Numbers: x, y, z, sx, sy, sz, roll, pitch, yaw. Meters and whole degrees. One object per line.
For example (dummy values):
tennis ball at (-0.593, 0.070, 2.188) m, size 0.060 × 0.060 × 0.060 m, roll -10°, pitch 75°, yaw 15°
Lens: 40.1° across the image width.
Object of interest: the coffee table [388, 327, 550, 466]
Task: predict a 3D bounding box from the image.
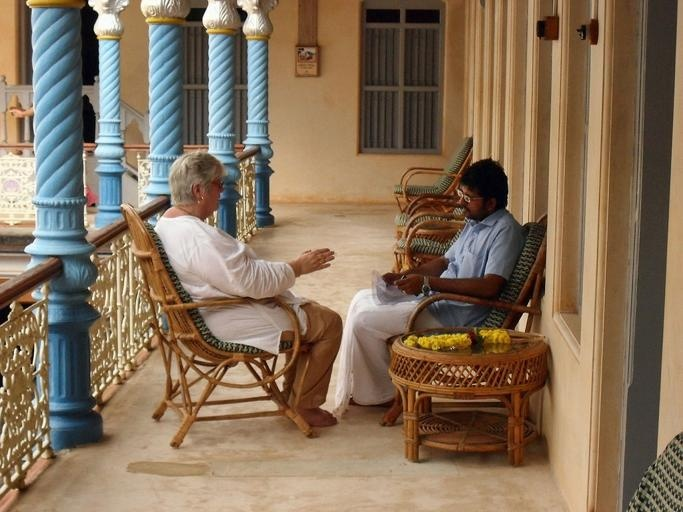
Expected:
coffee table at (0.671, 0.716, 4.995) m, size 0.748 × 0.499 × 0.745 m, roll -1°, pitch 5°, yaw -12°

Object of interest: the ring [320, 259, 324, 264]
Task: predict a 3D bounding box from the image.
ring at (-0.114, 0.029, 5.308) m, size 0.026 × 0.018 × 0.014 m, roll 0°, pitch 17°, yaw 0°

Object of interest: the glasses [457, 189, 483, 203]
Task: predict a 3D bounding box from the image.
glasses at (0.755, -0.341, 5.497) m, size 0.101 × 0.031 × 0.097 m, roll 7°, pitch 20°, yaw -24°

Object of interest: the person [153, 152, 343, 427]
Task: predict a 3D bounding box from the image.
person at (-0.515, 0.210, 5.307) m, size 1.020 × 1.587 × 0.394 m, roll -3°, pitch 13°, yaw -10°

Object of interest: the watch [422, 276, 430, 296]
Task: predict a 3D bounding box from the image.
watch at (0.482, 0.166, 5.402) m, size 0.049 × 0.114 × 0.079 m, roll -1°, pitch 13°, yaw -1°

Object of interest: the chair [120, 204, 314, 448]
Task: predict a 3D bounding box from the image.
chair at (-0.716, 0.413, 5.561) m, size 1.019 × 1.273 × 0.869 m, roll -1°, pitch -6°, yaw -8°
